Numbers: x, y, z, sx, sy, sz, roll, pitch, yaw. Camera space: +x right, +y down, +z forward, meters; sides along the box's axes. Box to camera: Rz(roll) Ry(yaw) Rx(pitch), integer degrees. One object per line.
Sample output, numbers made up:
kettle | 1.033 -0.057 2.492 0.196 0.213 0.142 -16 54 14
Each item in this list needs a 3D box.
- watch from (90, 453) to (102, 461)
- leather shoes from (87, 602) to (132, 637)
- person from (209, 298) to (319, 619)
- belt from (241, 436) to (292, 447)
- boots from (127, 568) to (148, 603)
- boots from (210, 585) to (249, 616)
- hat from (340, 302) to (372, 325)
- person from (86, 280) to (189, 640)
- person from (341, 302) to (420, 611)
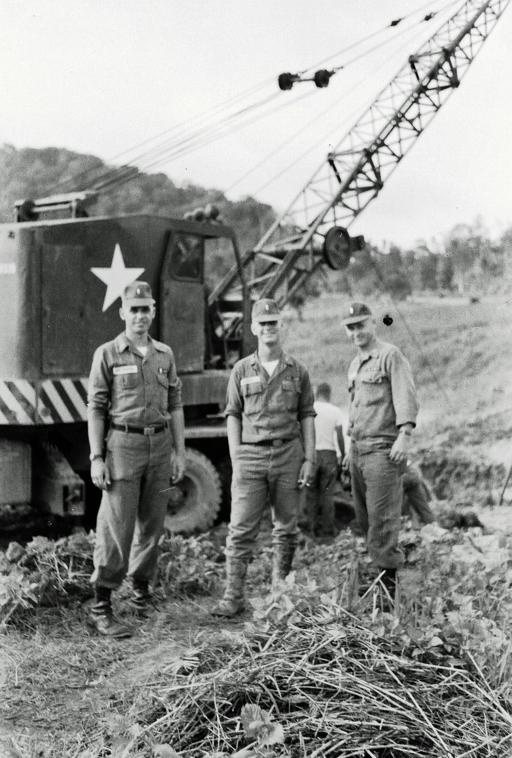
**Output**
watch | -0.742 0.365 5.343 0.037 0.048 0.013 -2 -31 1
leather shoes | -0.683 1.096 5.283 0.094 0.143 0.246 -1 7 -43
person | 0.046 0.394 5.601 0.448 1.655 0.369 -3 17 -9
belt | 0.053 0.310 5.523 0.223 0.046 0.069 -6 7 4
boots | -0.573 1.016 5.585 0.102 0.234 0.125 1 -5 -7
boots | -0.121 1.069 5.451 0.178 0.178 0.083 2 -4 9
hat | 0.478 -0.312 5.470 0.137 0.117 0.089 -5 6 1
person | -0.602 0.338 5.469 0.352 1.578 0.711 -1 6 24
person | 0.581 0.314 5.479 0.250 1.378 0.457 -7 6 -37
